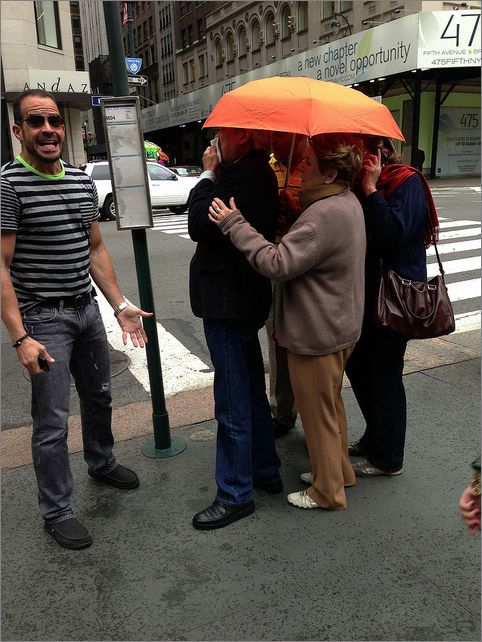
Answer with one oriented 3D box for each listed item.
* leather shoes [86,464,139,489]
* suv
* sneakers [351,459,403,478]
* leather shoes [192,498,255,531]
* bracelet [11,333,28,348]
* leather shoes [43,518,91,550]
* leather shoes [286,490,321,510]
[{"bbox_3d":[-0.671,0.820,2.682,0.256,0.104,0.105,6,15,14],"label":"leather shoes"},{"bbox_3d":[-3.287,-4.579,17.661,4.451,1.969,1.888,-10,18,-26],"label":"suv"},{"bbox_3d":[0.717,0.789,2.719,0.259,0.113,0.097,7,6,6],"label":"sneakers"},{"bbox_3d":[-0.083,0.859,2.348,0.261,0.104,0.099,-7,11,-30],"label":"leather shoes"},{"bbox_3d":[-0.885,0.089,2.024,0.059,0.017,0.053,-43,4,-5],"label":"bracelet"},{"bbox_3d":[-0.732,0.912,2.156,0.217,0.087,0.090,8,12,44],"label":"leather shoes"},{"bbox_3d":[0.294,0.846,2.417,0.115,0.049,0.072,7,18,13],"label":"leather shoes"}]
